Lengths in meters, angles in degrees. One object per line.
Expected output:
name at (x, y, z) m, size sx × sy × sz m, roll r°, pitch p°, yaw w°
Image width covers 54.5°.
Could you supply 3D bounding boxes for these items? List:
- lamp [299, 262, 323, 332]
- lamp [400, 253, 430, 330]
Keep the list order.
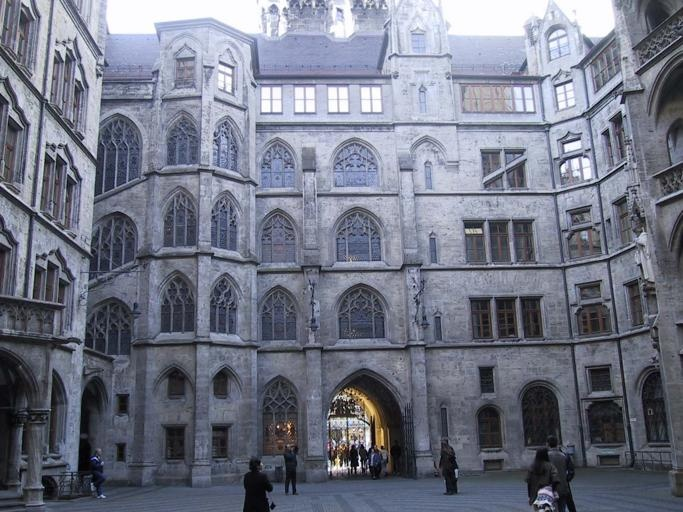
lamp at (-1.583, 2.324, 35.141) m, size 0.935 × 3.675 × 0.844 m, roll -2°, pitch -17°, yaw -3°
lamp at (3.884, 1.938, 35.692) m, size 1.190 × 3.832 × 1.216 m, roll -2°, pitch -8°, yaw -16°
